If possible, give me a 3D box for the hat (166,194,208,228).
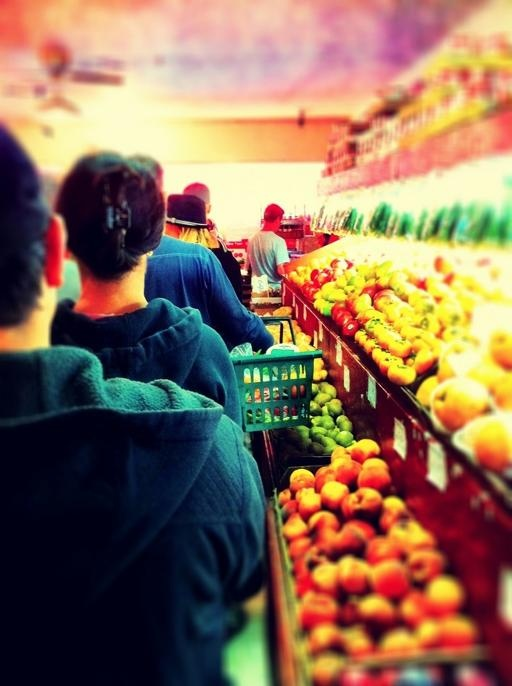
[{"bbox_3d":[-0.439,-0.759,3.134,0.188,0.224,0.271,-4,24,-27],"label":"hat"}]

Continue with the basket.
[{"bbox_3d":[0.064,0.171,2.144,0.343,0.270,0.263,-6,9,-16],"label":"basket"}]
